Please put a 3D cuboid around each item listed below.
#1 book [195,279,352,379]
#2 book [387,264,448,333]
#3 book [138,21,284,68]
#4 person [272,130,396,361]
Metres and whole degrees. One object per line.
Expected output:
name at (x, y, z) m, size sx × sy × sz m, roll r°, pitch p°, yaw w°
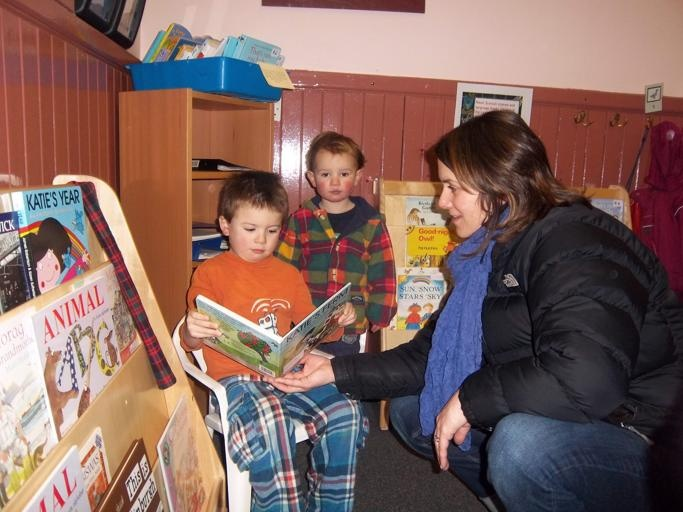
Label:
book at (-0.232, 0.243, 1.604) m, size 0.318 × 0.202 × 0.320 m, roll 33°, pitch 43°, yaw 15°
book at (0.341, 0.207, 2.360) m, size 0.255 × 0.297 × 0.013 m, roll 21°, pitch -11°, yaw -13°
book at (-0.559, -0.920, 2.197) m, size 0.568 × 0.167 × 0.346 m, roll 1°, pitch 13°, yaw 0°
person at (-0.041, 0.134, 2.375) m, size 0.544 × 1.366 × 0.508 m, roll 4°, pitch 13°, yaw 14°
